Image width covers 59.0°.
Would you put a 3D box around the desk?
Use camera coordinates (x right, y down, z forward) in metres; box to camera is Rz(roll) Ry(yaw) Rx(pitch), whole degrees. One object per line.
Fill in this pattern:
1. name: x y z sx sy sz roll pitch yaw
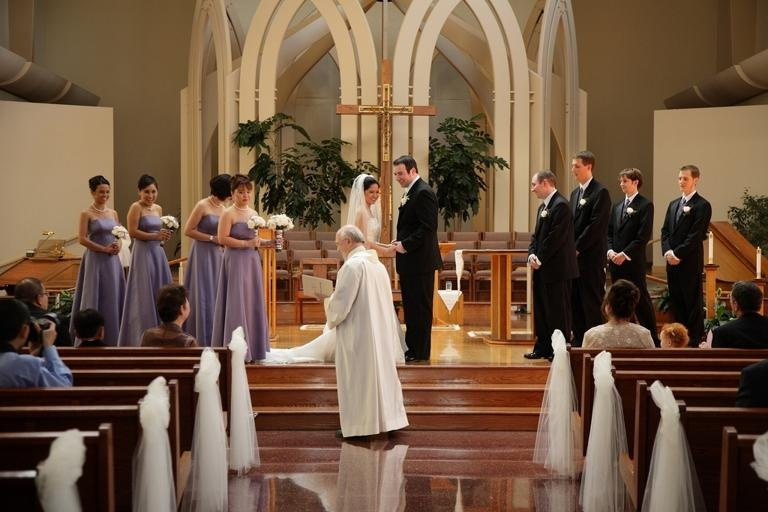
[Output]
1. desk: 1.421 0.482 8.695 0.979 1.184 1.083 0 0 -2

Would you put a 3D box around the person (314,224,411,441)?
1. person: -0.215 0.680 6.573 0.706 1.911 0.695 -6 -4 40

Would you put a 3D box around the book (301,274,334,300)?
1. book: -0.732 0.333 7.469 0.351 0.305 0.041 3 -3 21

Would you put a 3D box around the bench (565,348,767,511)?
1. bench: 2.270 1.272 5.168 1.318 0.983 1.548 0 1 -5

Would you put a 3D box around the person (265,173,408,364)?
1. person: -0.136 0.005 7.622 0.924 1.621 1.173 9 2 37

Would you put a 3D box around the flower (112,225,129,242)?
1. flower: -2.903 -0.268 7.540 0.181 0.160 0.384 0 1 -23

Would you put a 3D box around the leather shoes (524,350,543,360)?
1. leather shoes: 1.695 1.125 7.735 0.222 0.115 0.084 4 0 13
